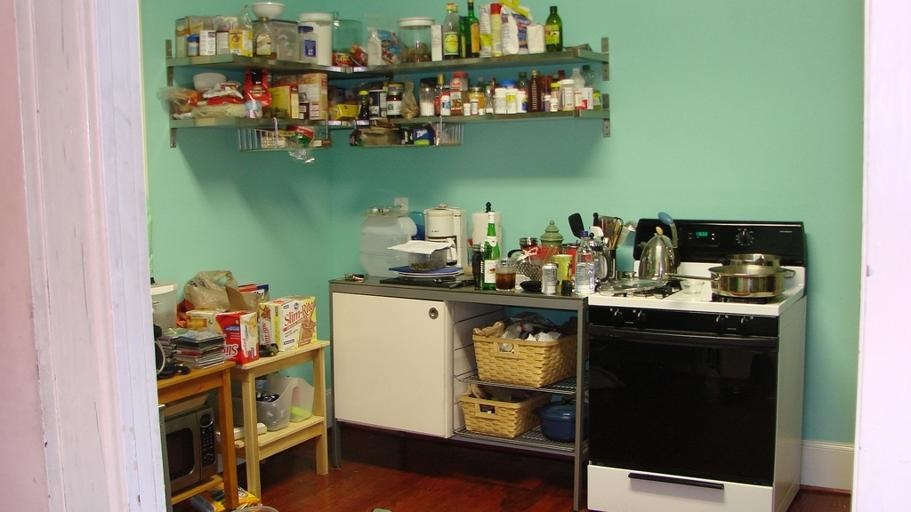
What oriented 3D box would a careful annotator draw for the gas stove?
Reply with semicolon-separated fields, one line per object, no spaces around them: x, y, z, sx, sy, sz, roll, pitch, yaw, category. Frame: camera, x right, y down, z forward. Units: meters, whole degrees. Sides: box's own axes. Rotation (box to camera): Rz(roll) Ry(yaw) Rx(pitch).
1.381;0.025;3.460;0.881;0.367;0.572;2;16;3;gas stove

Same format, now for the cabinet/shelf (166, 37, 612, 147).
-0.163;-1.064;4.289;1.072;0.313;1.769;0;-6;-37;cabinet/shelf

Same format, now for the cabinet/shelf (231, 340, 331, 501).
-0.975;0.932;3.800;0.625;0.681;0.708;-14;-12;-16;cabinet/shelf

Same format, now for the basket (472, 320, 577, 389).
0.386;0.507;3.582;0.429;0.300;0.361;5;11;35;basket

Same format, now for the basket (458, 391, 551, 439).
0.248;0.816;3.552;0.260;0.130;0.346;0;-2;29;basket

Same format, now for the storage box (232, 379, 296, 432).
-0.992;0.802;3.641;0.345;0.294;0.230;1;3;37;storage box

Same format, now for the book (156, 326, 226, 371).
-1.223;0.430;3.161;0.253;0.074;0.245;1;5;30;book

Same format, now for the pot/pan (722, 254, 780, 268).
1.487;0.017;3.336;0.173;0.052;0.122;0;6;15;pot/pan

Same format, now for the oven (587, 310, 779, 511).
1.139;0.686;3.548;1.061;1.206;0.947;-1;-2;30;oven

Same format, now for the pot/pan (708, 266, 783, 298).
1.324;0.119;3.060;0.201;0.071;0.224;2;4;40;pot/pan

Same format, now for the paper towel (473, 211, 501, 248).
0.207;-0.197;4.010;0.150;0.145;0.138;11;3;-7;paper towel

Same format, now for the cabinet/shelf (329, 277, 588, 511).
0.037;0.725;3.637;1.347;0.794;0.451;1;2;26;cabinet/shelf

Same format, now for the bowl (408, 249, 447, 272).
-0.157;0.029;3.879;0.167;0.091;0.167;-2;1;0;bowl

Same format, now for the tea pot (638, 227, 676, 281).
1.073;0.016;3.506;0.199;0.244;0.198;3;-3;0;tea pot
